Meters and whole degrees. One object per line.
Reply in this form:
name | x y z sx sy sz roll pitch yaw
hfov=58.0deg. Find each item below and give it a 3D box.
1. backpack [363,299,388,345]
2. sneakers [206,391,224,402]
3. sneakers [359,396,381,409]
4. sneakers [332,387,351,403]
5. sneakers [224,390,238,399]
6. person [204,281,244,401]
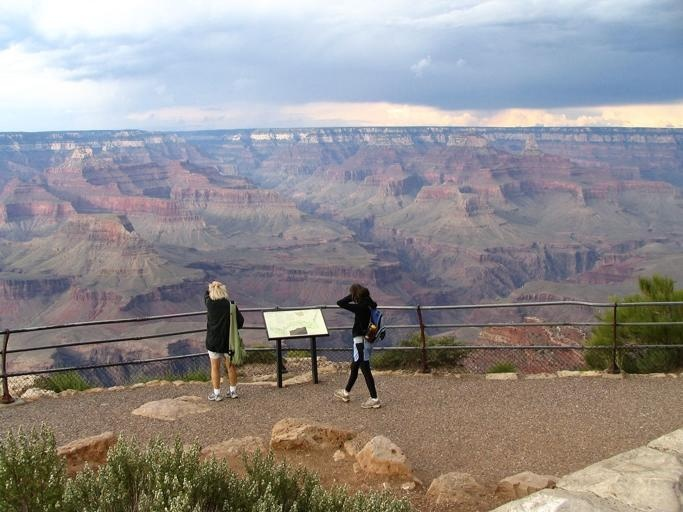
backpack | 0.567 1.124 10.157 0.301 0.583 0.443 12 14 24
sneakers | -2.256 2.481 10.943 0.306 0.149 0.121 7 4 42
sneakers | 0.485 2.451 10.322 0.336 0.180 0.152 3 -1 15
sneakers | 0.015 2.399 10.712 0.332 0.172 0.144 20 22 39
sneakers | -1.988 2.479 11.108 0.113 0.148 0.305 -1 1 -36
person | -2.149 1.475 11.126 0.669 2.134 1.335 -4 4 -13
